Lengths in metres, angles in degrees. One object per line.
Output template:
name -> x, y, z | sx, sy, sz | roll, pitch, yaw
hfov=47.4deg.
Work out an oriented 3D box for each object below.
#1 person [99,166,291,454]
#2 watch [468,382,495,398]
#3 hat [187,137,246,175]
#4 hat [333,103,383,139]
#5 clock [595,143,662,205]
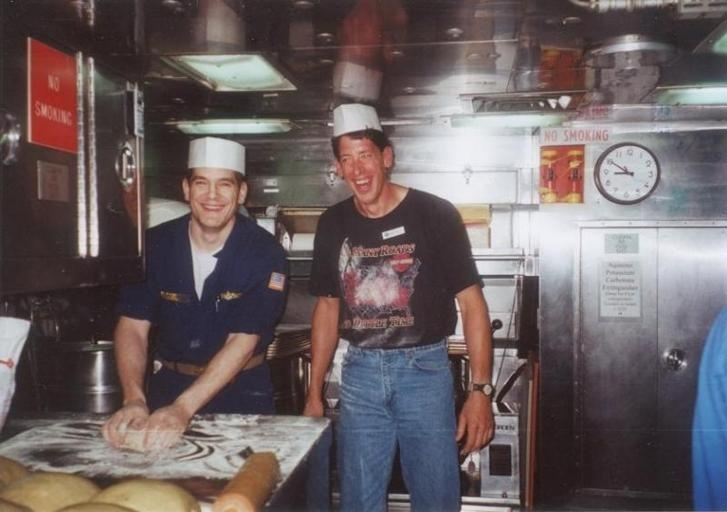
person -> -0.701, 0.151, 3.268 | 0.652, 0.810, 0.695 | 2, -1, -7
watch -> 0.488, 0.528, 3.389 | 0.089, 0.052, 0.091 | 5, -4, -15
hat -> -0.650, -0.445, 3.588 | 0.281, 0.164, 0.255 | 3, 9, -1
hat -> -0.024, -0.563, 3.414 | 0.157, 0.082, 0.156 | -10, 10, -5
clock -> 1.266, -0.387, 3.938 | 0.304, 0.380, 0.381 | 5, 7, 13
